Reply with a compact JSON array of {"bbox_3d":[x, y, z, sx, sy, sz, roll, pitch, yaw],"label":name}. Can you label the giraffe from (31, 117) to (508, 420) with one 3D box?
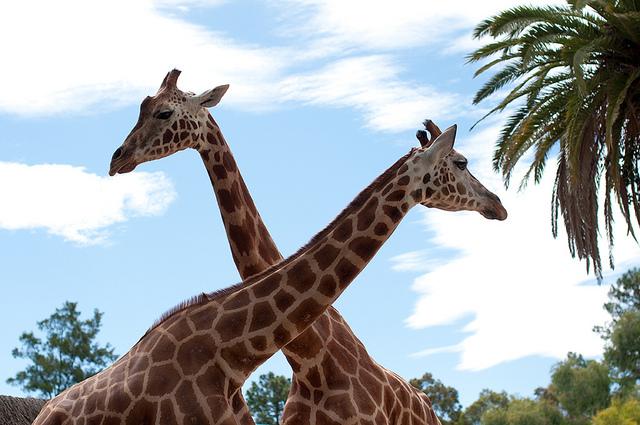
[{"bbox_3d":[-1.239,2.375,21.057,11.379,4.197,1.640,-25,-36,3],"label":"giraffe"}]
